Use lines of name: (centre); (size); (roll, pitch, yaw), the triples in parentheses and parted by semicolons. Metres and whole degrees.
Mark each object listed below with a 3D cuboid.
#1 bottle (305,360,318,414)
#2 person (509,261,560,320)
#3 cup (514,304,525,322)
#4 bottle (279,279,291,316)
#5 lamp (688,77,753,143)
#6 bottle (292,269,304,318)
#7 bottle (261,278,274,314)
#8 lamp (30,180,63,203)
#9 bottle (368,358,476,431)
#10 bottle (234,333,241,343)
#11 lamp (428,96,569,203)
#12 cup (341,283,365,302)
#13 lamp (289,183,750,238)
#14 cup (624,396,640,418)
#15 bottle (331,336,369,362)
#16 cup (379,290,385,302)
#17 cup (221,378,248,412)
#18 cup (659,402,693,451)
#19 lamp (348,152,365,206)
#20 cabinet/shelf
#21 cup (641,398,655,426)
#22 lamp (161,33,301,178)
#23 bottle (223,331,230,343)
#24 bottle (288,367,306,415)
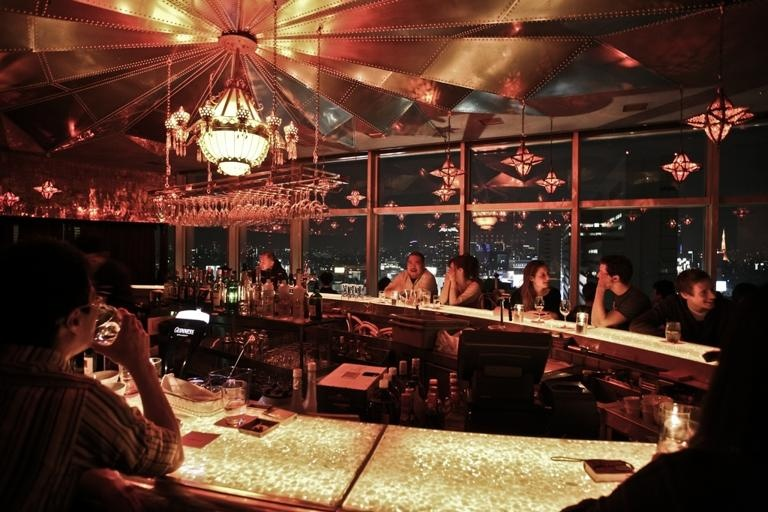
bottle: (-0.481, 0.851, 3.822); (0.074, 0.344, 0.186); (1, 0, -9)
person: (1.667, 0.417, 6.418); (0.560, 0.703, 0.452); (-3, 3, -6)
cup: (1.310, 0.549, 5.709); (0.103, 0.168, 0.314); (1, 0, 12)
bottle: (-0.936, 0.410, 5.491); (0.100, 0.318, 0.183); (1, 0, -7)
lamp: (2.988, -1.284, 5.178); (0.485, 0.547, 0.447); (-4, 5, -30)
bottle: (-0.795, 0.341, 5.461); (0.107, 0.447, 0.269); (1, 0, -8)
bottle: (-1.105, 0.397, 5.572); (0.098, 0.332, 0.077); (1, 0, -2)
lamp: (-5.370, -1.051, 9.337); (0.310, 0.315, 0.316); (5, 7, 24)
bottle: (0.254, 0.932, 4.006); (0.647, 0.460, 0.433); (1, 0, 6)
bottle: (-1.447, 0.794, 5.749); (0.081, 0.086, 0.079); (3, -2, -34)
lamp: (1.573, -1.771, 8.475); (1.978, 1.799, 1.029); (0, -1, 29)
cup: (-0.390, 0.435, 7.122); (0.221, 0.137, 0.214); (2, -3, 0)
lamp: (2.171, -0.690, 8.670); (5.959, 0.356, 0.266); (1, 0, 23)
cup: (1.701, 1.052, 4.088); (0.128, 0.125, 0.123); (1, -9, 0)
bottle: (-0.338, 0.853, 5.483); (0.117, 0.240, 0.465); (1, 0, -45)
cup: (-0.030, 0.512, 7.490); (0.083, 0.135, 0.080); (-1, -1, 0)
cup: (-0.967, 0.904, 3.843); (0.189, 0.208, 0.199); (0, -5, 0)
cup: (1.689, 1.017, 3.356); (0.208, 0.314, 0.206); (8, -14, 2)
lamp: (-0.503, -1.198, 9.611); (0.319, 0.712, 0.328); (-5, 2, -1)
cabinet/shelf: (-1.300, 0.908, 5.603); (1.320, 0.632, 0.330); (9, -12, 18)
cup: (1.774, 1.040, 3.996); (0.126, 0.132, 0.135); (1, -6, 0)
lamp: (-1.512, -1.377, 5.712); (1.132, 1.206, 1.561); (1, 0, -20)
bottle: (-1.593, 0.799, 5.848); (0.084, 0.124, 0.085); (2, -3, 0)
bottle: (-0.577, 0.872, 3.896); (0.094, 0.295, 0.218); (1, 0, -8)
